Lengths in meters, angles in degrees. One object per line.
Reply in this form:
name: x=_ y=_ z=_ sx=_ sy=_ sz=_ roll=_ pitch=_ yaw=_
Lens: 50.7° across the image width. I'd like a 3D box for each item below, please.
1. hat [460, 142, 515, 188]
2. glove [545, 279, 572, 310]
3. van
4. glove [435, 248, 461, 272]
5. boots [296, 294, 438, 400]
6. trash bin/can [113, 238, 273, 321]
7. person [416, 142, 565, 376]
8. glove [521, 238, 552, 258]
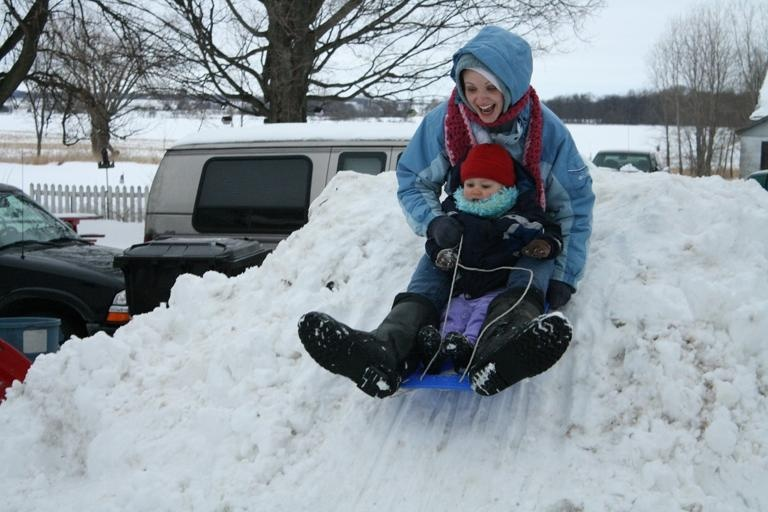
hat: x=1.001 y=-0.853 z=7.835 sx=0.418 sy=0.349 sz=0.436 roll=14 pitch=-1 yaw=26
glove: x=1.692 y=0.354 z=7.928 sx=0.207 sy=0.291 sz=0.263 roll=13 pitch=7 yaw=31
van: x=-1.436 y=-1.105 z=11.599 sx=3.122 sy=1.767 sz=1.796 roll=1 pitch=0 yaw=14
glove: x=0.601 y=0.040 z=7.788 sx=0.216 sy=0.217 sz=0.106 roll=-2 pitch=7 yaw=-4
boots: x=-0.101 y=0.841 z=7.429 sx=1.308 sy=0.815 sz=0.541 roll=-8 pitch=9 yaw=-42
trash bin/can: x=-2.310 y=0.188 z=9.727 sx=1.232 sy=0.891 sz=0.947 roll=1 pitch=9 yaw=11
person: x=1.028 y=0.050 z=7.802 sx=1.295 sy=0.692 sz=2.614 roll=3 pitch=54 yaw=21
glove: x=1.446 y=-0.091 z=7.678 sx=0.187 sy=0.079 sz=0.196 roll=5 pitch=13 yaw=24
